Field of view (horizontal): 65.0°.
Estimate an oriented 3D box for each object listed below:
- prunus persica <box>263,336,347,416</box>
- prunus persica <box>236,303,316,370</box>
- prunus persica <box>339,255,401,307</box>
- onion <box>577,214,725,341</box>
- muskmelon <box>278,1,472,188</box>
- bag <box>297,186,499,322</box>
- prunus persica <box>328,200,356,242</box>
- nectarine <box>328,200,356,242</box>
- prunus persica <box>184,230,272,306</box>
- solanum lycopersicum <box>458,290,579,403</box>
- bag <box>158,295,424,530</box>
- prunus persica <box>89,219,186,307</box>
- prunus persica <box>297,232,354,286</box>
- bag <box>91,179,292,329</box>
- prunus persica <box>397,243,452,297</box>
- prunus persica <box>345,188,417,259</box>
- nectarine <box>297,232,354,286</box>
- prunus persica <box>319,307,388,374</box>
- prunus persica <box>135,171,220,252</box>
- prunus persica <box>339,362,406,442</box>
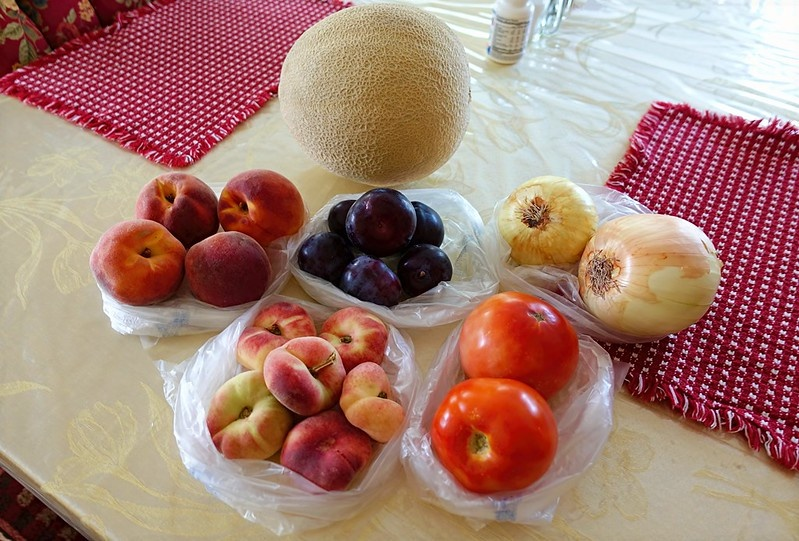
[{"bbox_3d":[-0.153,0.182,1.039,0.115,0.065,0.118,18,61,-25],"label":"prunus persica"},{"bbox_3d":[-0.214,0.111,1.091,0.099,0.069,0.110,2,41,-2],"label":"prunus persica"},{"bbox_3d":[-0.049,0.036,1.124,0.084,0.087,0.094,14,66,10],"label":"prunus persica"},{"bbox_3d":[0.411,0.040,1.155,0.205,0.213,0.212,-27,86,-15],"label":"onion"},{"bbox_3d":[-0.041,-0.303,1.273,0.323,0.284,0.273,12,36,14],"label":"muskmelon"},{"bbox_3d":[0.026,0.039,1.170,0.273,0.118,0.262,-27,60,-12],"label":"bag"},{"bbox_3d":[-0.113,-0.079,1.180,0.055,0.062,0.073,6,56,-7],"label":"prunus persica"},{"bbox_3d":[-0.113,-0.078,1.180,0.055,0.062,0.073,6,56,-7],"label":"nectarine"},{"bbox_3d":[-0.303,0.016,1.176,0.127,0.124,0.136,19,88,7],"label":"prunus persica"},{"bbox_3d":[0.210,0.164,1.116,0.170,0.135,0.161,38,53,18],"label":"solanum lycopersicum"},{"bbox_3d":[-0.196,0.250,1.054,0.322,0.081,0.384,-34,71,-10],"label":"bag"},{"bbox_3d":[-0.451,0.005,1.114,0.139,0.140,0.150,11,68,-17],"label":"prunus persica"},{"bbox_3d":[-0.131,-0.008,1.156,0.082,0.104,0.086,-1,32,5],"label":"prunus persica"},{"bbox_3d":[-0.358,0.055,1.138,0.277,0.085,0.280,-37,67,-20],"label":"bag"},{"bbox_3d":[0.049,0.016,1.189,0.081,0.092,0.088,-10,37,13],"label":"prunus persica"},{"bbox_3d":[-0.033,-0.065,1.130,0.101,0.125,0.118,-2,90,-4],"label":"prunus persica"},{"bbox_3d":[-0.138,-0.006,1.200,0.082,0.104,0.086,-1,32,5],"label":"nectarine"},{"bbox_3d":[-0.076,0.118,1.050,0.095,0.101,0.108,-3,85,-7],"label":"prunus persica"},{"bbox_3d":[-0.401,-0.097,1.168,0.128,0.139,0.134,-15,59,-22],"label":"prunus persica"},{"bbox_3d":[-0.048,0.223,1.035,0.062,0.109,0.116,-33,58,25],"label":"prunus persica"}]
